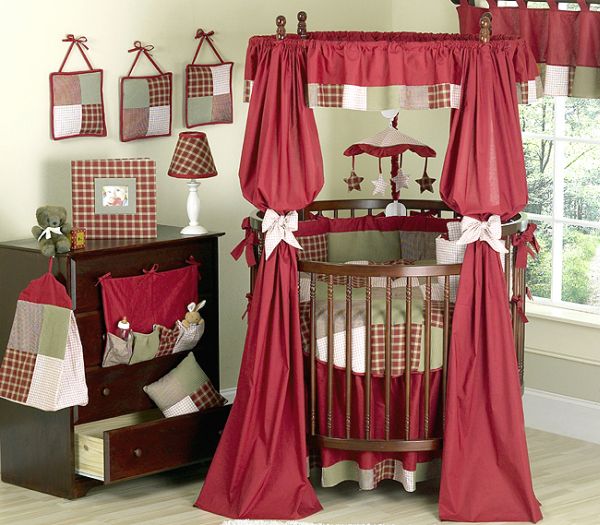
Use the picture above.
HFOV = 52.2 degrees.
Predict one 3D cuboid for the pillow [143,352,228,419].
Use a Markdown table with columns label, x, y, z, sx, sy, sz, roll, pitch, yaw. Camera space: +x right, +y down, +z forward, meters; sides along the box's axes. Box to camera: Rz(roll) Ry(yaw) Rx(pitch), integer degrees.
| label | x | y | z | sx | sy | sz | roll | pitch | yaw |
| --- | --- | --- | --- | --- | --- | --- | --- | --- | --- |
| pillow | -0.467 | 0.546 | 2.686 | 0.228 | 0.259 | 0.073 | -24 | 6 | 23 |

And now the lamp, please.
| label | x | y | z | sx | sy | sz | roll | pitch | yaw |
| --- | --- | --- | --- | --- | --- | --- | --- | --- | --- |
| lamp | -0.486 | -0.375 | 2.801 | 0.201 | 0.476 | 0.435 | -1 | 7 | -9 |

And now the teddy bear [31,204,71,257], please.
| label | x | y | z | sx | sy | sz | roll | pitch | yaw |
| --- | --- | --- | --- | --- | --- | --- | --- | --- | --- |
| teddy bear | -0.933 | -0.122 | 2.333 | 0.146 | 0.175 | 0.139 | 17 | 22 | 32 |

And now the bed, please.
| label | x | y | z | sx | sy | sz | roll | pitch | yaw |
| --- | --- | --- | --- | --- | --- | --- | --- | --- | --- |
| bed | 0.576 | 0.430 | 2.806 | 0.977 | 0.910 | 1.202 | -4 | -9 | 5 |
